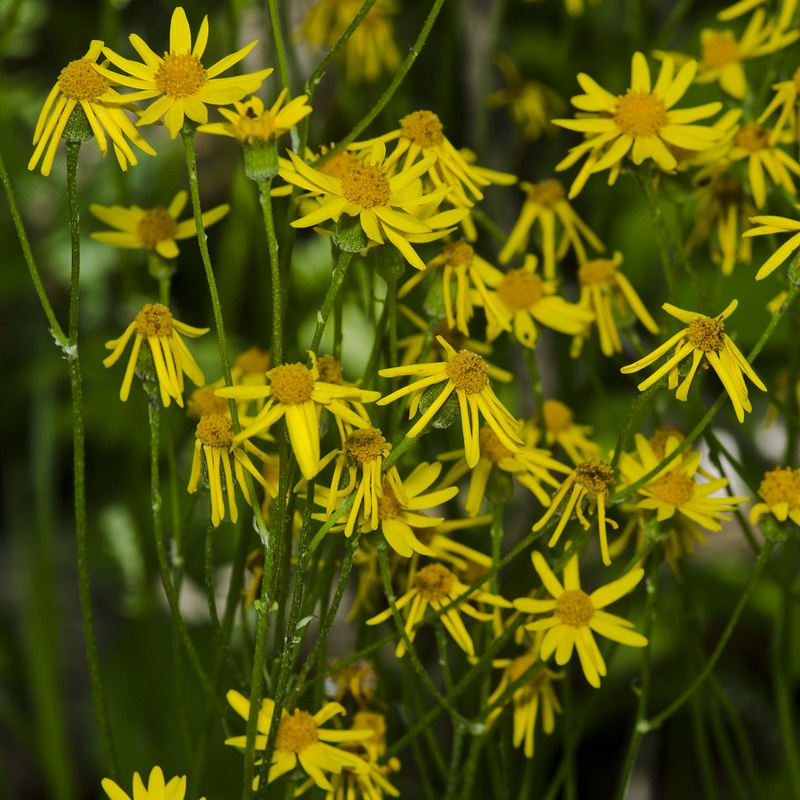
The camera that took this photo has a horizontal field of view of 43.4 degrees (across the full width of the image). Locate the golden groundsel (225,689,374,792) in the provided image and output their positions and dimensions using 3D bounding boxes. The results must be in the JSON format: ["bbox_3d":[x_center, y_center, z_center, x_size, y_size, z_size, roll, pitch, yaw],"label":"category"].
[{"bbox_3d":[-0.041,0.143,0.457,0.045,0.017,0.051,5,32,-37],"label":"golden groundsel"}]
